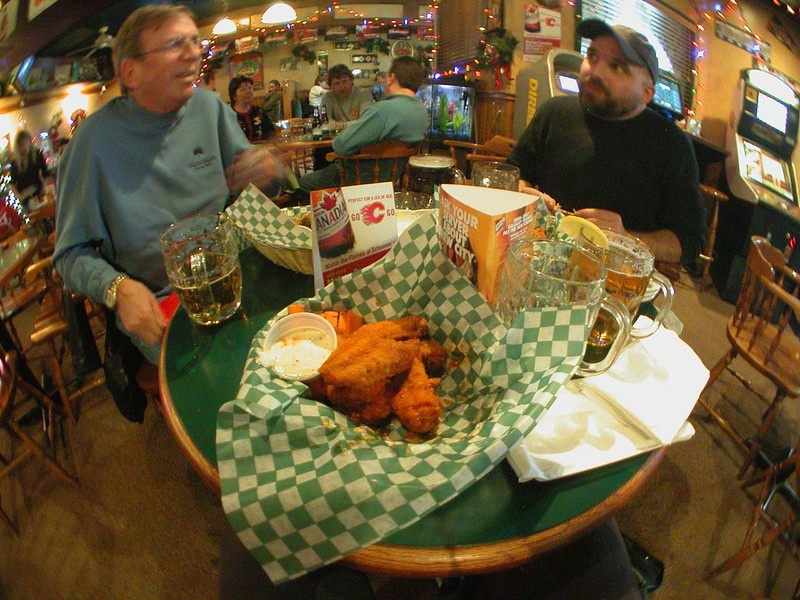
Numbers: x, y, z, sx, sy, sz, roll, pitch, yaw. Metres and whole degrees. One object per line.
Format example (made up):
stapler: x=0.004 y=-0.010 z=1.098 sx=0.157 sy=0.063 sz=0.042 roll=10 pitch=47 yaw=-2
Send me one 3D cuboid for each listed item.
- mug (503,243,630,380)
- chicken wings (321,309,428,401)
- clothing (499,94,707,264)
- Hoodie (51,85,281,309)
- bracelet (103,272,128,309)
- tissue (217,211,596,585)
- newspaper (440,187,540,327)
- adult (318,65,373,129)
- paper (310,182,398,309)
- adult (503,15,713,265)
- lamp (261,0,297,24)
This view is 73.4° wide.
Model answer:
mug: x=0.464 y=-0.026 z=1.734 sx=0.289 sy=0.441 sz=0.471 roll=-11 pitch=25 yaw=-21
chicken wings: x=-0.060 y=0.165 z=1.597 sx=0.283 sy=0.087 sz=0.193 roll=-26 pitch=50 yaw=-37
clothing: x=1.011 y=-0.582 z=2.559 sx=0.783 sy=0.643 sz=0.441 roll=32 pitch=48 yaw=26
Hoodie: x=-1.019 y=-0.425 z=2.258 sx=0.465 sy=0.668 sz=0.680 roll=29 pitch=53 yaw=28
bracelet: x=-1.125 y=-0.035 z=2.147 sx=0.081 sy=0.080 sz=0.123 roll=17 pitch=42 yaw=26
tissue: x=-0.042 y=0.254 z=1.532 sx=1.017 sy=0.595 sz=0.716 roll=-27 pitch=42 yaw=-28
newspaper: x=0.274 y=-0.128 z=1.651 sx=0.273 sy=0.392 sz=0.217 roll=12 pitch=39 yaw=14
adult: x=-0.621 y=-2.307 z=5.931 sx=0.563 sy=0.855 sz=0.762 roll=-4 pitch=34 yaw=1
paper: x=-0.159 y=-0.179 z=1.833 sx=0.312 sy=0.357 sz=0.112 roll=-20 pitch=20 yaw=-21
adult: x=1.078 y=-0.870 z=2.877 sx=1.194 sy=1.105 sz=0.777 roll=29 pitch=46 yaw=32
lamp: x=-0.529 y=-1.253 z=2.366 sx=0.115 sy=0.120 sz=0.054 roll=-19 pitch=71 yaw=9
